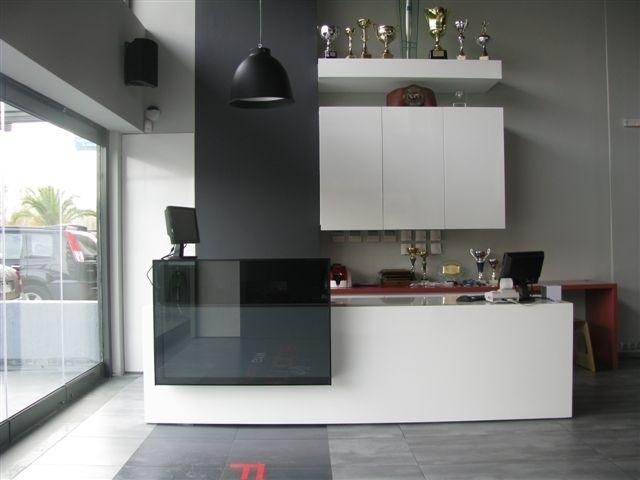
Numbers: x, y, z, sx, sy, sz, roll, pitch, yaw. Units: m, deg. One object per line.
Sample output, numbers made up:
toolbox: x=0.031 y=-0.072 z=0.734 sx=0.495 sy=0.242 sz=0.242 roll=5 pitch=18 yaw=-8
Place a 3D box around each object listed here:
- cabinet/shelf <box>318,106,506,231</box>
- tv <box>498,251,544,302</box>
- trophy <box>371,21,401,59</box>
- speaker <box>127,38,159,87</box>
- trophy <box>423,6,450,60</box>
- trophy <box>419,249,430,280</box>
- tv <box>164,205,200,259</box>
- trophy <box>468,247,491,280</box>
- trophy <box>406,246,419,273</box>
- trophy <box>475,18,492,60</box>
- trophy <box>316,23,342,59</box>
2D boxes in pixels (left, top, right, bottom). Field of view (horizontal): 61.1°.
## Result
cabinet/shelf: x=0.992 y=-0.789 z=5.929 sx=2.002 sy=1.287 sz=0.340 roll=-1 pitch=13 yaw=-4
tv: x=1.850 y=0.339 z=5.012 sx=0.390 sy=0.462 sz=0.196 roll=1 pitch=3 yaw=-3
trophy: x=0.743 y=-2.232 z=6.142 sx=0.265 sy=0.353 sz=0.209 roll=-11 pitch=20 yaw=-19
speaker: x=-1.934 y=-1.879 z=5.848 sx=0.285 sy=0.519 sz=0.352 roll=-2 pitch=-2 yaw=-1
trophy: x=1.295 y=-2.328 z=6.105 sx=0.257 sy=0.576 sz=0.398 roll=2 pitch=13 yaw=10
trophy: x=1.213 y=0.273 z=6.373 sx=0.101 sy=0.320 sz=0.138 roll=2 pitch=13 yaw=12
tv: x=-1.245 y=-0.098 z=4.888 sx=0.257 sy=0.456 sz=0.398 roll=-3 pitch=13 yaw=-12
trophy: x=1.872 y=0.303 z=6.293 sx=0.257 sy=0.343 sz=0.397 roll=1 pitch=13 yaw=6
trophy: x=1.074 y=0.224 z=6.316 sx=0.125 sy=0.281 sz=0.184 roll=0 pitch=13 yaw=3
trophy: x=1.855 y=-2.293 z=6.196 sx=0.162 sy=0.472 sz=0.556 roll=3 pitch=14 yaw=17
trophy: x=0.092 y=-2.210 z=6.080 sx=0.216 sy=0.346 sz=0.223 roll=2 pitch=17 yaw=19
